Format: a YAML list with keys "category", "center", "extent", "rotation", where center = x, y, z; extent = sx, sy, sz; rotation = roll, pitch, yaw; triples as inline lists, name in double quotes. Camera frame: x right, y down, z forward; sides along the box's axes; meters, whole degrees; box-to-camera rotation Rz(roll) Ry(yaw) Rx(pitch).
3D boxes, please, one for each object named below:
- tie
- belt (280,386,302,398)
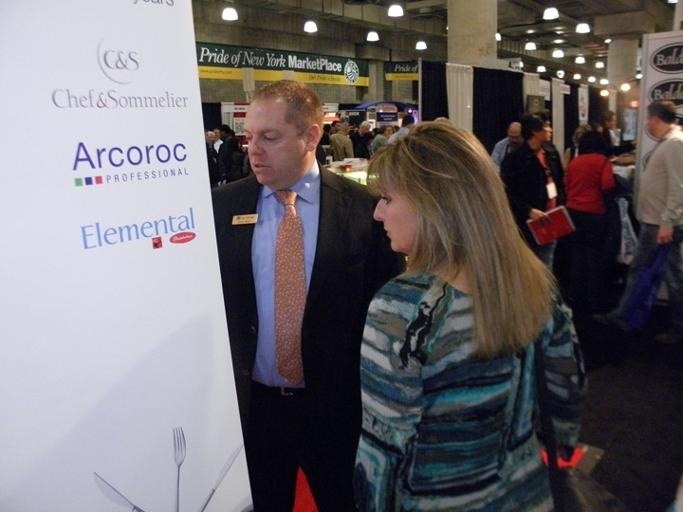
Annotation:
- category: "tie"
  center: [-0.180, 0.107, 1.815]
  extent: [0.116, 0.635, 0.287]
  rotation: [-3, 14, -5]
- category: "belt"
  center: [-0.176, 0.472, 1.757]
  extent: [0.041, 0.058, 0.015]
  rotation: [-1, 38, 14]
